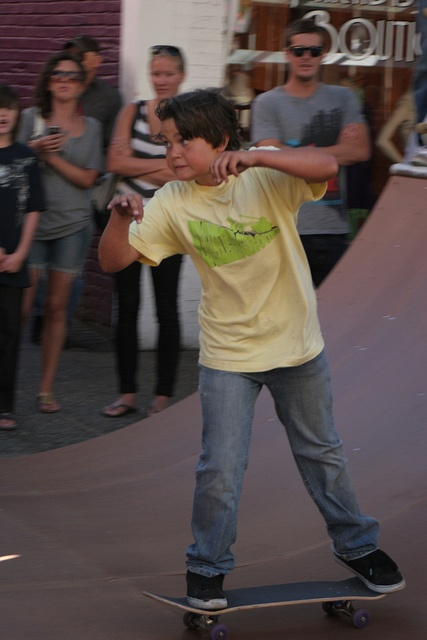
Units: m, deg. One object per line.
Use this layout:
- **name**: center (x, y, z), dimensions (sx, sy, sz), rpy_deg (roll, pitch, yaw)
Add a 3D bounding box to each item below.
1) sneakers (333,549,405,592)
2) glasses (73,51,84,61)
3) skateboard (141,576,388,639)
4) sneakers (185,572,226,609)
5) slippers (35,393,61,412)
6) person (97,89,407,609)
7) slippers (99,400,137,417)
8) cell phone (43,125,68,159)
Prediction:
- **sneakers**: center (0.384, 0.616, 1.485), dimensions (0.180, 0.071, 0.066), rpy_deg (21, 38, 36)
- **glasses**: center (-0.845, -1.672, 3.642), dimensions (0.080, 0.050, 0.020), rpy_deg (11, -2, -5)
- **skateboard**: center (0.134, 0.711, 1.407), dimensions (0.600, 0.104, 0.157), rpy_deg (-1, -1, -13)
- **sneakers**: center (-0.019, 0.628, 1.324), dimensions (0.046, 0.075, 0.119), rpy_deg (12, -18, -32)
- **slippers**: center (-1.049, 0.528, 3.640), dimensions (0.124, 0.093, 0.253), rpy_deg (0, -6, -15)
- **person**: center (0.109, 0.070, 1.409), dimensions (0.612, 1.211, 0.327), rpy_deg (-4, 9, -12)
- **slippers**: center (-0.567, 0.537, 3.482), dimensions (0.177, 0.056, 0.090), rpy_deg (4, 8, -9)
- **cell phone**: center (-0.876, -1.021, 3.215), dimensions (0.123, 0.163, 0.214), rpy_deg (-4, 8, -13)
